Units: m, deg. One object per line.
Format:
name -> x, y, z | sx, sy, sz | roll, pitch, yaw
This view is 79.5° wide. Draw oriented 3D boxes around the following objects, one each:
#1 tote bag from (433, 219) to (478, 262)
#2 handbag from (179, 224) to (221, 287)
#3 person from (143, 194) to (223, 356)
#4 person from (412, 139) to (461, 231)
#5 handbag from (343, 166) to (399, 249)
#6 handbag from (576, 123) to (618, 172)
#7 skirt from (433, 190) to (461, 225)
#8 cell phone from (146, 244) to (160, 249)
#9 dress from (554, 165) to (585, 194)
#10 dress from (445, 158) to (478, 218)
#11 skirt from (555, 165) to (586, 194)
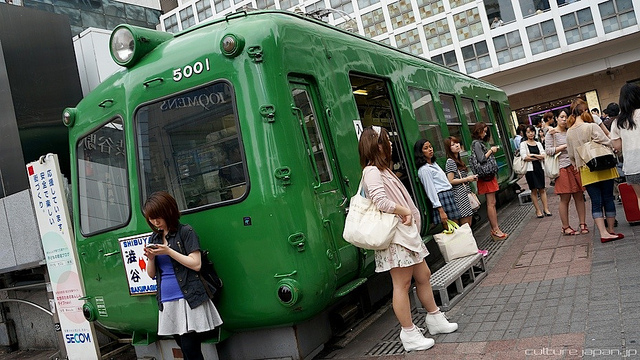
tote bag -> 2.366, 1.051, 6.743 | 0.695, 0.697, 0.253 | -19, -1, -7
handbag -> -1.617, 1.085, 5.080 | 0.556, 0.907, 0.368 | -6, 7, -36
person -> -1.824, 1.286, 5.066 | 0.891, 2.331, 0.423 | -13, 3, -6
person -> 2.235, 0.125, 7.363 | 0.631, 0.694, 1.959 | -15, -51, 29
handbag -> 0.659, 0.544, 5.093 | 0.701, 0.901, 0.276 | -12, 3, 18
handbag -> 5.216, -0.616, 7.242 | 0.604, 0.671, 0.270 | -13, 3, 0
skirt -> 2.447, 0.526, 7.428 | 0.362, 0.622, 0.584 | -19, 4, 27
cell phone -> -2.113, 0.846, 4.837 | 0.162, 0.066, 0.081 | -10, 4, 31
dress -> 5.140, -0.029, 7.877 | 0.509, 0.563, 0.367 | 3, -21, -3
dress -> 2.990, 0.198, 8.116 | 0.534, 1.409, 0.582 | 1, 1, 20
skirt -> 5.143, -0.028, 7.865 | 0.529, 0.581, 0.380 | 1, -18, -4
